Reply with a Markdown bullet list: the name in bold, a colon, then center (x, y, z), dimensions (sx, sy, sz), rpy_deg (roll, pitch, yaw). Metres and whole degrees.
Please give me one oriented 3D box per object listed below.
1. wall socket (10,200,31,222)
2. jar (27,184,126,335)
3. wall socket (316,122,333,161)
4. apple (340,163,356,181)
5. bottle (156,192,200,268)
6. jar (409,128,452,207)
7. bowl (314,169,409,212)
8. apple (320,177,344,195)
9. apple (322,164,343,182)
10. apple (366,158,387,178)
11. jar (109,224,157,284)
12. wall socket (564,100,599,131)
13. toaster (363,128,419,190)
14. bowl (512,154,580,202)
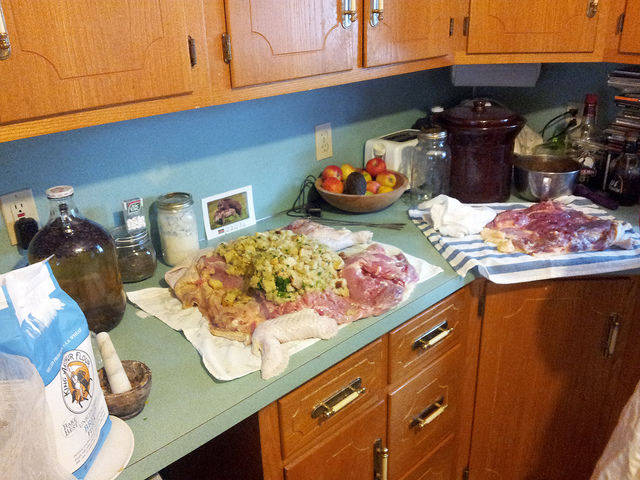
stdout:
- **wall socket**: center (-0.862, -0.082, 1.360), dimensions (0.006, 0.058, 0.051), rpy_deg (13, 23, 41)
- **jar**: center (-0.595, 0.047, 1.280), dimensions (0.241, 0.431, 0.203), rpy_deg (14, 26, 37)
- **wall socket**: center (0.016, -0.401, 1.954), dimensions (0.006, 0.161, 0.118), rpy_deg (8, 17, 37)
- **apple**: center (0.119, -0.281, 1.946), dimensions (0.073, 0.088, 0.078), rpy_deg (3, 19, 15)
- **bottle**: center (-0.459, -0.028, 1.547), dimensions (0.116, 0.232, 0.108), rpy_deg (-3, 24, 1)
- **jar**: center (0.447, -0.289, 1.897), dimensions (0.159, 0.288, 0.127), rpy_deg (1, 24, 10)
- **bowl**: center (0.169, -0.179, 1.895), dimensions (0.374, 0.126, 0.255), rpy_deg (-3, 23, -1)
- **apple**: center (0.048, -0.206, 1.861), dimensions (0.068, 0.081, 0.067), rpy_deg (9, 48, 2)
- **apple**: center (0.052, -0.266, 1.930), dimensions (0.066, 0.077, 0.065), rpy_deg (-11, -11, -34)
- **apple**: center (0.232, -0.298, 1.944), dimensions (0.071, 0.068, 0.070), rpy_deg (-2, 36, 5)
- **jar**: center (-0.598, 0.053, 1.529), dimensions (0.166, 0.152, 0.120), rpy_deg (-6, 6, 3)
- **wall socket**: center (1.169, -0.543, 2.120), dimensions (0.133, 0.122, 0.209), rpy_deg (9, 26, 25)
- **toaster**: center (0.289, -0.352, 2.139), dimensions (0.154, 0.195, 0.287), rpy_deg (6, 17, 16)
- **bowl**: center (0.919, -0.220, 1.930), dimensions (0.232, 0.131, 0.298), rpy_deg (10, 19, 37)
